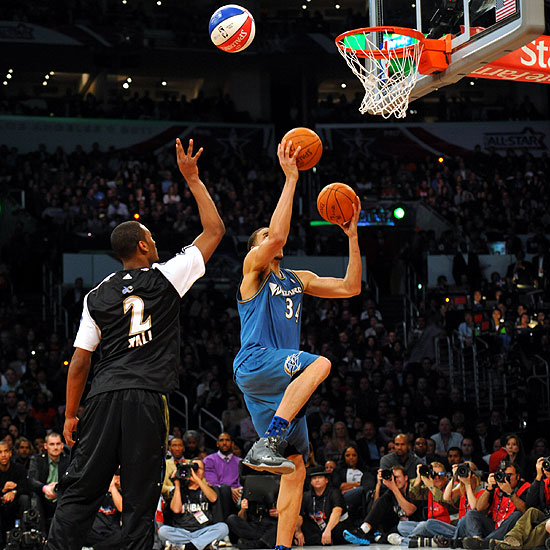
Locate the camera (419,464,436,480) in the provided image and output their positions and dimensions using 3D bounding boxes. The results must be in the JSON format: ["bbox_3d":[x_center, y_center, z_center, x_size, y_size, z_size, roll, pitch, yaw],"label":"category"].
[{"bbox_3d":[1.870,2.392,11.007,0.244,0.154,0.151,3,-2,-10],"label":"camera"}]

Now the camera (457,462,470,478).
[{"bbox_3d":[2.219,2.292,10.673,0.155,0.148,0.145,3,-19,4],"label":"camera"}]

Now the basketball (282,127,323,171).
[{"bbox_3d":[0.197,-1.117,7.952,0.364,0.356,0.374,-11,18,-40],"label":"basketball"}]

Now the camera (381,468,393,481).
[{"bbox_3d":[1.385,2.459,11.204,0.145,0.133,0.087,3,-2,-11],"label":"camera"}]

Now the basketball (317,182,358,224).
[{"bbox_3d":[0.584,-0.653,8.366,0.387,0.410,0.207,1,-2,36],"label":"basketball"}]

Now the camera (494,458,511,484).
[{"bbox_3d":[2.665,2.286,10.584,0.228,0.202,0.194,1,-14,9],"label":"camera"}]
